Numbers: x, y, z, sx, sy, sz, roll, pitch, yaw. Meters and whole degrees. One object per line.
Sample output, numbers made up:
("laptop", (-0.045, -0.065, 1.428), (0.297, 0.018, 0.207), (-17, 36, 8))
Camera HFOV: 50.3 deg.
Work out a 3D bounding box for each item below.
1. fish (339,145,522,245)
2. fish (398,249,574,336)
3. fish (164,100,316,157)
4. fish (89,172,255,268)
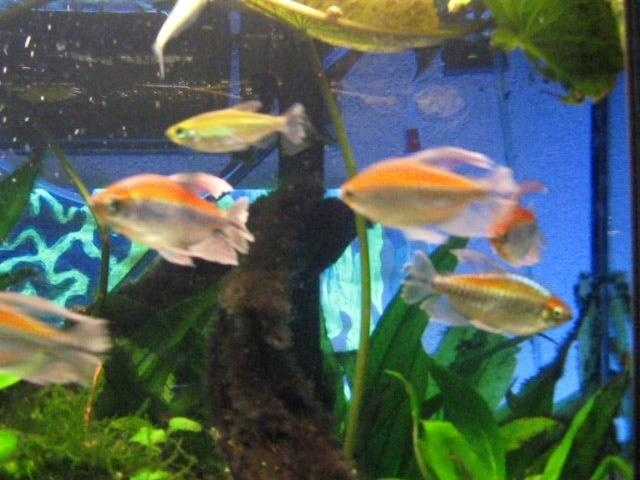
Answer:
("fish", (0.399, -0.138, 2.236), (0.593, 0.337, 0.181), (1, -10, -6))
("fish", (0.582, 0.205, 2.409), (0.553, 0.336, 0.175), (15, -19, 20))
("fish", (-0.271, -0.399, 2.518), (0.306, 0.215, 0.543), (2, 14, 30))
("fish", (-0.476, -0.080, 2.303), (0.523, 0.344, 0.146), (9, -8, -17))
